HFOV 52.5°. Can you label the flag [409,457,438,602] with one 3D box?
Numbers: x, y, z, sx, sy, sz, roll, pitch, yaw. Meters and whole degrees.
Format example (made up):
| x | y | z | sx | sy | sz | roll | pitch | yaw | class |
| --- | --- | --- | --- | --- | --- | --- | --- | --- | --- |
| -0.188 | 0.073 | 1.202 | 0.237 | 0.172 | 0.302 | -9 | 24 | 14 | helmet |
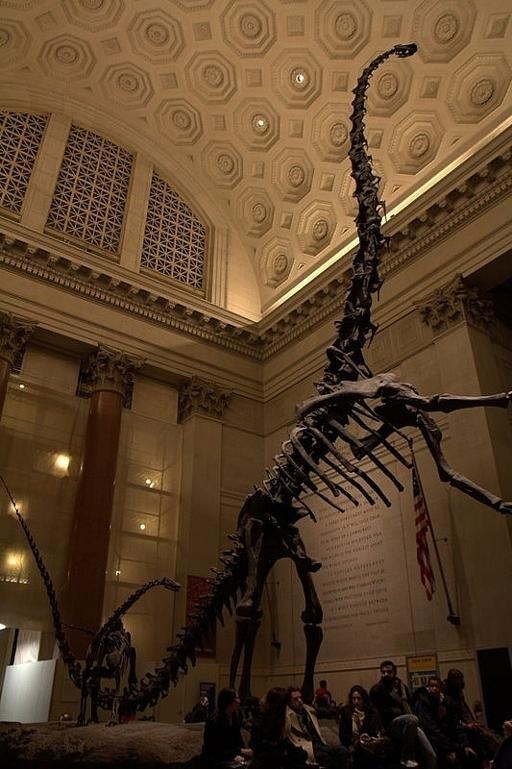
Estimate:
| x | y | z | sx | sy | sz | roll | pitch | yaw | class |
| --- | --- | --- | --- | --- | --- | --- | --- | --- | --- |
| 1.937 | 1.784 | 6.062 | 0.205 | 1.296 | 0.972 | -7 | -29 | 16 | flag |
